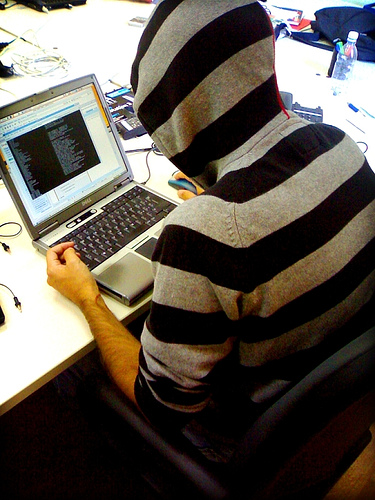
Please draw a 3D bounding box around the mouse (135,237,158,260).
[{"bbox_3d":[-0.085,0.000,0.899,0.039,0.002,0.054,24,45,17],"label":"mouse"}]

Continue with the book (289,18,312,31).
[{"bbox_3d":[0.551,-1.074,1.991,0.083,0.019,0.079,17,64,23],"label":"book"}]

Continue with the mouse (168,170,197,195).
[{"bbox_3d":[-0.011,-0.174,1.091,0.017,0.068,0.039,-56,2,-12],"label":"mouse"}]
